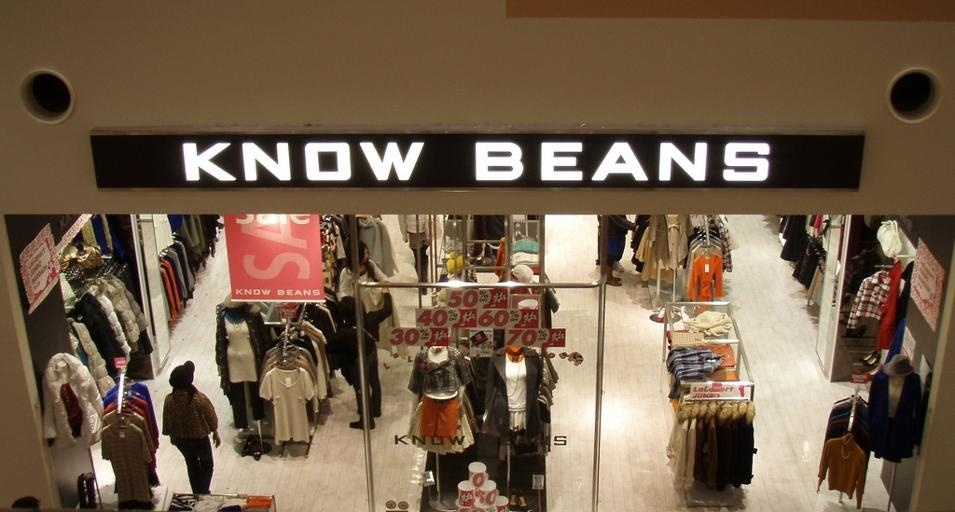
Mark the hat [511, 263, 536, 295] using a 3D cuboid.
[{"bbox_3d":[0.530,0.293,8.153,0.281,0.356,0.361,12,9,11],"label":"hat"}]

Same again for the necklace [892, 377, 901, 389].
[{"bbox_3d":[4.721,1.423,7.750,0.031,0.113,0.113,6,-15,-23],"label":"necklace"}]

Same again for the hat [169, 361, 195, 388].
[{"bbox_3d":[-3.455,1.394,8.076,0.230,0.335,0.307,4,-14,-18],"label":"hat"}]

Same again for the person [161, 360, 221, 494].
[{"bbox_3d":[-3.443,2.087,8.289,0.622,1.533,0.990,-4,-14,15],"label":"person"}]

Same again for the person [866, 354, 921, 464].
[{"bbox_3d":[4.726,1.733,7.857,0.396,1.169,0.587,1,-14,-5],"label":"person"}]

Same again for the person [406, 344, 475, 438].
[{"bbox_3d":[-0.424,1.644,8.088,0.724,1.099,0.557,0,-14,-1],"label":"person"}]

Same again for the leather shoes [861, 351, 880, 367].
[{"bbox_3d":[5.544,1.452,9.720,0.086,0.232,0.173,46,-14,-15],"label":"leather shoes"}]

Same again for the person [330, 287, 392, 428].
[{"bbox_3d":[-1.513,1.376,9.040,0.768,1.740,1.190,0,-14,1],"label":"person"}]

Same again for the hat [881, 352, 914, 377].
[{"bbox_3d":[4.728,1.237,7.782,0.307,0.241,0.181,-7,-15,27],"label":"hat"}]

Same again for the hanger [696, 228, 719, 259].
[{"bbox_3d":[3.428,-0.182,10.256,0.325,0.547,0.300,-5,31,3],"label":"hanger"}]

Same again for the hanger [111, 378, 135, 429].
[{"bbox_3d":[-4.130,1.633,7.999,0.111,0.774,0.086,-7,-39,1],"label":"hanger"}]
